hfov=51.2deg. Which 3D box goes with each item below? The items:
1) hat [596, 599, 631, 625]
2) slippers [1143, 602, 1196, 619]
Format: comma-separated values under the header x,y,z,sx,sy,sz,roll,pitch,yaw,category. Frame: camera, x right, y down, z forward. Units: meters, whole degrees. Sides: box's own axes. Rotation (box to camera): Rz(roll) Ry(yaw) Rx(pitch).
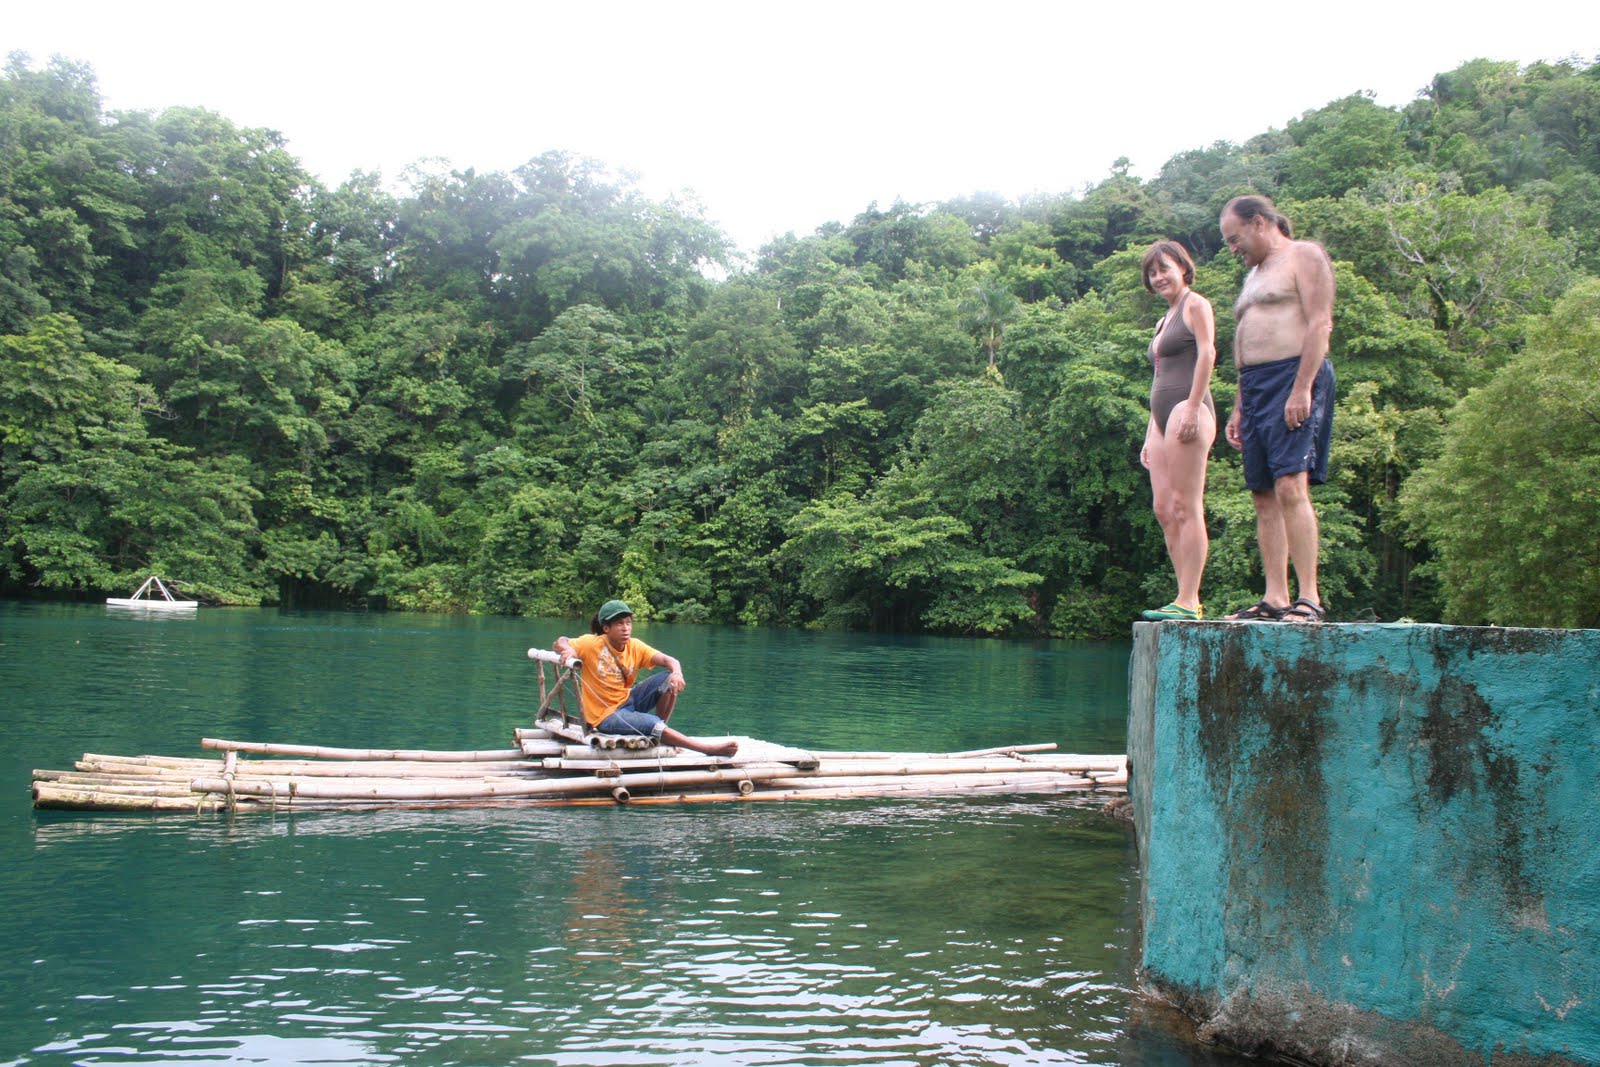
x,y,z,sx,sy,sz,roll,pitch,yaw,category
-2.738,1.177,24.258,0.452,0.228,0.349,-19,-6,39,hat
4.685,1.006,20.773,0.725,0.249,0.256,3,-12,-11,slippers
